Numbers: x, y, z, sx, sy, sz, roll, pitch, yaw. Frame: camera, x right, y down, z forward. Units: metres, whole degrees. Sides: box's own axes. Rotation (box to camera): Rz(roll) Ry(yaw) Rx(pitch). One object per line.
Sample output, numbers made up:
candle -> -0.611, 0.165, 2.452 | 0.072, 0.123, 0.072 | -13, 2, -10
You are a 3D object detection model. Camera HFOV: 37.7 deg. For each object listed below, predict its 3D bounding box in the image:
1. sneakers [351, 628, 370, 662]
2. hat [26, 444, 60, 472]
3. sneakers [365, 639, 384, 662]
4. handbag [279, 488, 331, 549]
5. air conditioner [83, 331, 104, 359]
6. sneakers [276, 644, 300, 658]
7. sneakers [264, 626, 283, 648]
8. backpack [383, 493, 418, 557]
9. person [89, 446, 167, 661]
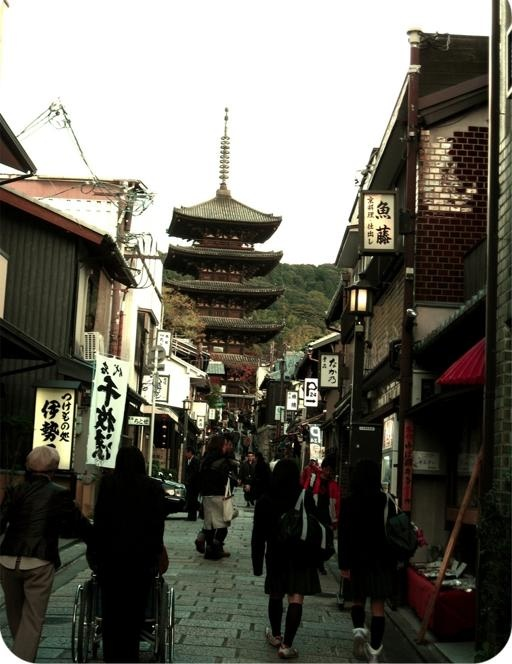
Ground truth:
sneakers -> 0.768, 2.283, 5.482 | 0.082, 0.227, 0.165 | 0, -4, 14
hat -> -1.342, 0.800, 4.737 | 0.158, 0.167, 0.206 | 3, 8, -7
sneakers -> 0.839, 2.289, 5.370 | 0.108, 0.127, 0.147 | 1, 1, 2
handbag -> 0.349, 1.420, 5.629 | 0.353, 0.333, 0.186 | 16, -28, -29
air conditioner -> -3.641, 0.289, 16.631 | 0.335, 0.559, 0.610 | -1, 0, 3
sneakers -> 0.224, 2.282, 5.341 | 0.135, 0.102, 0.112 | 3, -12, 3
sneakers -> 0.128, 2.355, 5.771 | 0.080, 0.087, 0.215 | 2, 7, -11
backpack -> 1.099, 1.496, 5.719 | 0.252, 0.499, 0.296 | 1, -13, 12
person -> -0.808, 1.351, 4.636 | 0.440, 1.262, 0.250 | 6, -13, -10
